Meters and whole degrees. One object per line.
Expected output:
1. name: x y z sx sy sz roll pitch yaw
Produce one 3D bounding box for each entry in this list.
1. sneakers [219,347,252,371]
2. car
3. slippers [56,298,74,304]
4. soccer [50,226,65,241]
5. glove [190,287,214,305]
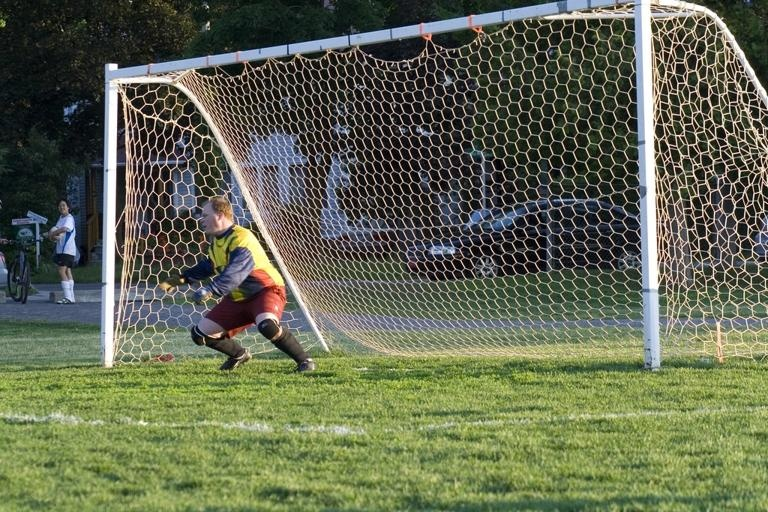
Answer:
1. sneakers: -2.261 1.664 19.087 0.579 0.201 0.255 -34 -31 9
2. car: 3.112 -0.398 26.864 5.410 1.354 1.960 1 -4 -9
3. slippers: -6.778 0.989 26.449 0.311 0.112 0.152 2 0 17
4. soccer: -6.790 -0.448 25.854 0.304 0.243 0.355 -1 -3 -9
5. glove: -2.661 0.612 18.197 0.204 0.260 0.459 18 -11 -25
